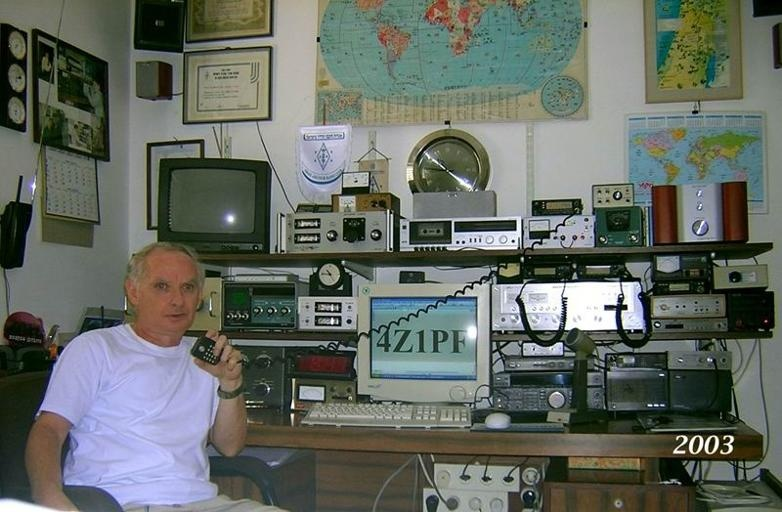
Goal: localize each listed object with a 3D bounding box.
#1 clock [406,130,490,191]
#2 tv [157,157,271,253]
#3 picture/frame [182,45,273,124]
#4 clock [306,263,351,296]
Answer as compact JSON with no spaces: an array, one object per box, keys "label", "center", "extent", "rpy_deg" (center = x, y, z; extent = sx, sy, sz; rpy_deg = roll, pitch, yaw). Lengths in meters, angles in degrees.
[{"label":"clock","center":[0.369,-0.625,5.210],"extent":[0.461,0.453,0.467],"rpy_deg":[-2,1,10]},{"label":"tv","center":[-1.068,-0.274,5.205],"extent":[0.883,0.781,0.558],"rpy_deg":[0,-4,1]},{"label":"picture/frame","center":[-1.128,-1.198,5.525],"extent":[0.568,0.438,0.046],"rpy_deg":[-1,-6,10]},{"label":"clock","center":[-0.384,0.157,4.942],"extent":[0.206,0.186,0.071],"rpy_deg":[-1,-5,4]}]
